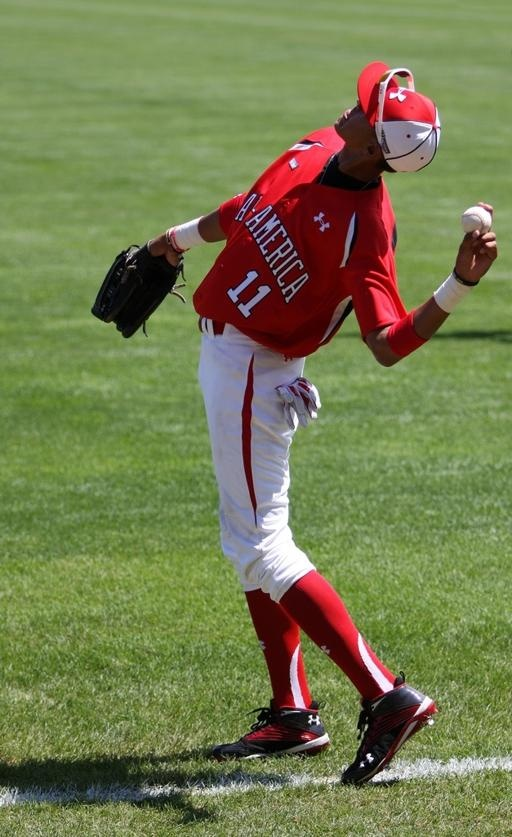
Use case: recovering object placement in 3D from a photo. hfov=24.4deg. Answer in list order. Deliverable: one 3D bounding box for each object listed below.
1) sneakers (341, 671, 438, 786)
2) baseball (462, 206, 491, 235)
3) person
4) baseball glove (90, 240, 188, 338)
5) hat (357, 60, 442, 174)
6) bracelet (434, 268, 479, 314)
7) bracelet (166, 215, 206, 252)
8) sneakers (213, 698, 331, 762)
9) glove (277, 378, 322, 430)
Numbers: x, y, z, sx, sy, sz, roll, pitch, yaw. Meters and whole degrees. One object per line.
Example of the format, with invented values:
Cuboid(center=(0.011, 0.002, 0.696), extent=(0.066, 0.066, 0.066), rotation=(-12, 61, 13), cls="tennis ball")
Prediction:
Cuboid(center=(0.307, 0.787, 3.004), extent=(0.338, 0.162, 0.115), rotation=(-38, -12, -24), cls="sneakers")
Cuboid(center=(0.531, -0.483, 2.864), extent=(0.067, 0.071, 0.167), rotation=(3, 11, 9), cls="baseball")
Cuboid(center=(0.071, -0.028, 3.210), extent=(0.548, 1.810, 1.072), rotation=(-7, 14, -33), cls="person")
Cuboid(center=(-0.369, -0.401, 3.643), extent=(0.173, 0.231, 0.201), rotation=(16, 21, -19), cls="baseball glove")
Cuboid(center=(0.320, -0.767, 2.947), extent=(0.158, 0.269, 0.197), rotation=(-7, 6, 42), cls="hat")
Cuboid(center=(0.463, -0.308, 2.864), extent=(0.095, 0.084, 0.107), rotation=(-13, -19, -14), cls="bracelet")
Cuboid(center=(-0.201, -0.544, 3.464), extent=(0.079, 0.044, 0.117), rotation=(0, -15, -31), cls="bracelet")
Cuboid(center=(0.071, 0.860, 3.228), extent=(0.386, 0.163, 0.125), rotation=(-1, -9, 4), cls="sneakers")
Cuboid(center=(0.116, -0.041, 3.081), extent=(0.133, 0.120, 0.055), rotation=(-17, -4, 11), cls="glove")
